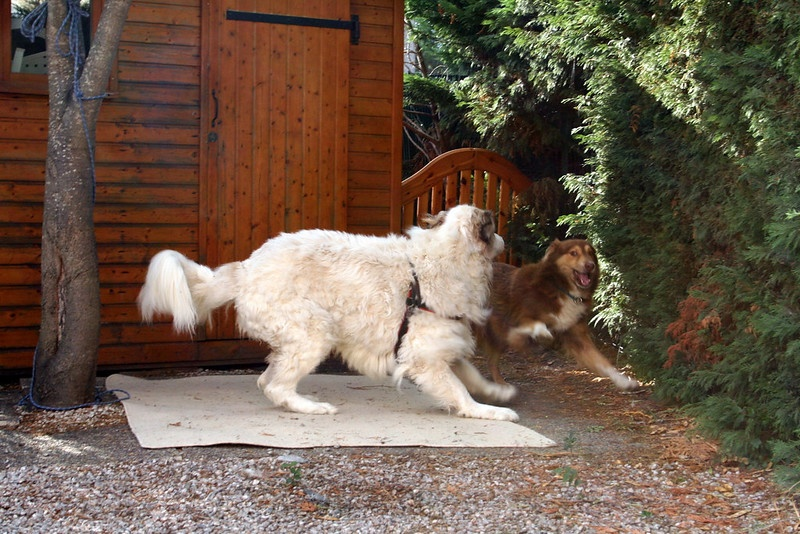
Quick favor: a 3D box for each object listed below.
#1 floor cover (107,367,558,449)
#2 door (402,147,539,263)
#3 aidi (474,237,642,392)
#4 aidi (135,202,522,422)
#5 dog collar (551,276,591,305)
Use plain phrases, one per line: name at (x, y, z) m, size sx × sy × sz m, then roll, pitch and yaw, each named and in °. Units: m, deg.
floor cover at (-0.776, 1.198, 5.832) m, size 3.523 × 0.157 × 1.999 m, roll 1°, pitch 10°, yaw -3°
door at (0.842, -0.841, 9.067) m, size 1.733 × 1.772 × 1.280 m, roll 2°, pitch 2°, yaw 2°
aidi at (1.472, 0.384, 6.480) m, size 1.225 × 1.523 × 0.972 m, roll 0°, pitch 4°, yaw -29°
aidi at (-0.544, 0.416, 5.916) m, size 3.402 × 1.573 × 1.121 m, roll 0°, pitch 0°, yaw -3°
dog collar at (1.588, 0.230, 6.258) m, size 0.294 × 0.115 × 0.230 m, roll 24°, pitch -5°, yaw 0°
